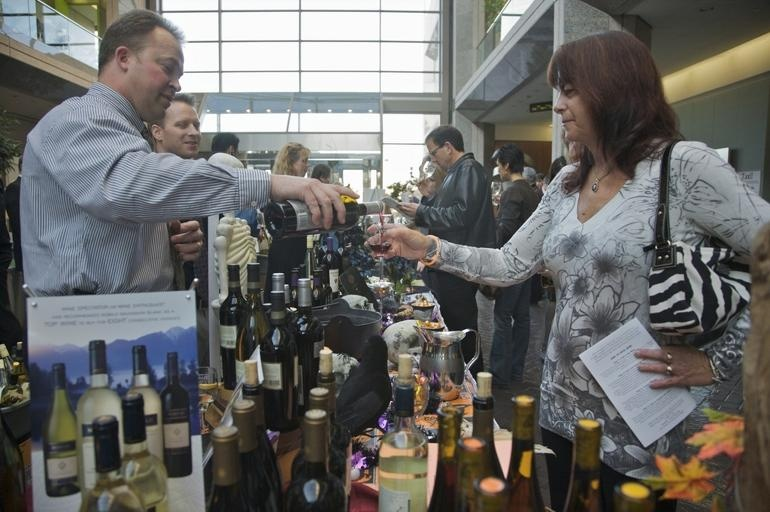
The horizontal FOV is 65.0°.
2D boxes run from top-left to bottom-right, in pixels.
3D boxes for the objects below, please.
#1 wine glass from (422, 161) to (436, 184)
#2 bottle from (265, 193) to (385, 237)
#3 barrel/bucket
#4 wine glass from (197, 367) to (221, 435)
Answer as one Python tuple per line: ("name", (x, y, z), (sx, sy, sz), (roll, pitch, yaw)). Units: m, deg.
("wine glass", (0.373, -0.739, 5.243), (0.098, 0.153, 0.053), (0, -4, 36))
("bottle", (-0.182, -0.141, 2.135), (0.202, 0.134, 0.512), (-1, 1, 43))
("barrel/bucket", (-0.150, 0.275, 2.385), (0.307, 0.214, 0.321), (-3, -6, 0))
("wine glass", (-0.649, 0.520, 2.155), (0.094, 0.228, 0.093), (-2, -3, -16))
